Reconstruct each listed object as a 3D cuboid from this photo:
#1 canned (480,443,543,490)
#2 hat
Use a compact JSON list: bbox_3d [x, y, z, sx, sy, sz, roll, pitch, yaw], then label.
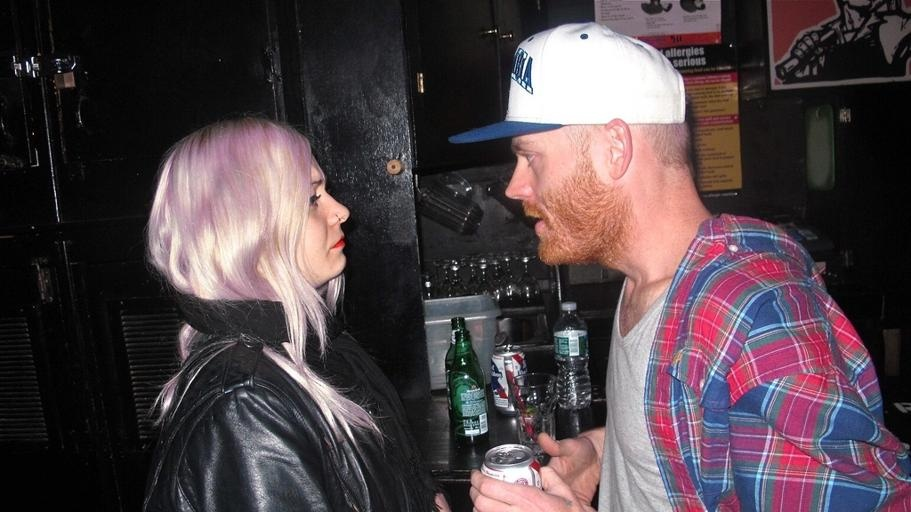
[{"bbox_3d":[0.217,0.834,3.263,0.188,0.162,0.181,0,1,0],"label":"canned"},{"bbox_3d":[0.535,-0.718,3.381,0.725,0.324,0.452,-2,12,4],"label":"hat"}]
